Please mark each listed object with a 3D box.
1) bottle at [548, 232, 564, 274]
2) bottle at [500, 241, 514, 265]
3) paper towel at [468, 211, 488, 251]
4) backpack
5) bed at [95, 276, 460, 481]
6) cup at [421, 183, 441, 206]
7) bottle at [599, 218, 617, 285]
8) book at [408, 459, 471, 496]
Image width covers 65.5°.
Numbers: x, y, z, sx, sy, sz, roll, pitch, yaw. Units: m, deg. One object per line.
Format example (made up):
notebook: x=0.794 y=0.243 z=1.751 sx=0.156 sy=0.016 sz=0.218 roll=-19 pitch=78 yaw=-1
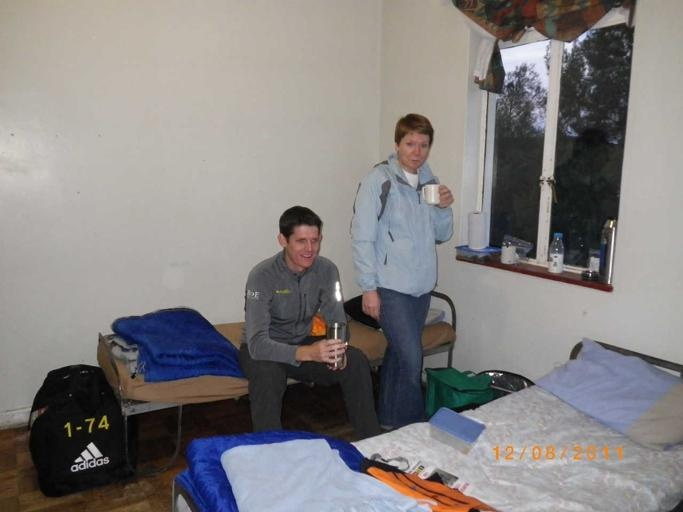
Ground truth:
bottle: x=1.438 y=-0.023 z=3.542 sx=0.106 sy=0.264 sz=0.209 roll=2 pitch=5 yaw=23
bottle: x=1.180 y=-0.025 z=3.742 sx=0.096 sy=0.161 sz=0.074 roll=1 pitch=5 yaw=18
paper towel: x=1.007 y=-0.182 z=3.919 sx=0.139 sy=0.283 sz=0.229 roll=1 pitch=5 yaw=14
backpack: x=-1.578 y=1.044 z=3.139 sx=0.453 sy=0.351 sz=0.768 roll=-6 pitch=49 yaw=-33
bed: x=-0.366 y=0.501 z=3.587 sx=2.204 sy=0.868 sz=1.087 roll=-4 pitch=10 yaw=-27
cup: x=0.548 y=-0.379 z=3.232 sx=0.124 sy=0.125 sz=0.083 roll=1 pitch=1 yaw=25
bottle: x=1.610 y=-0.021 z=3.199 sx=0.086 sy=0.382 sz=0.057 roll=3 pitch=6 yaw=32
book: x=0.434 y=0.995 z=2.381 sx=0.275 sy=0.079 sz=0.128 roll=1 pitch=5 yaw=22
